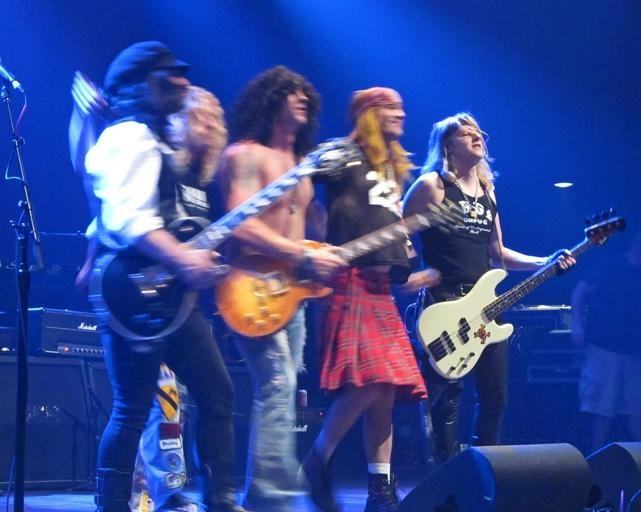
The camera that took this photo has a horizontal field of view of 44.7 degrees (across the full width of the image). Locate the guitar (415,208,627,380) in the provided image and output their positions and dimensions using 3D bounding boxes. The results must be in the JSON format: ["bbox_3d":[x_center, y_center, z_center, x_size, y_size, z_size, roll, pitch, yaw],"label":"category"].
[{"bbox_3d":[1.100,0.218,4.325,0.428,0.203,1.553,17,-50,-41],"label":"guitar"}]

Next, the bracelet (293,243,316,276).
[{"bbox_3d":[-0.078,0.019,3.910,0.091,0.153,0.036,14,8,-23],"label":"bracelet"}]

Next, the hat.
[{"bbox_3d":[-0.850,-0.918,3.844,0.353,0.152,0.239,-23,8,-3],"label":"hat"}]

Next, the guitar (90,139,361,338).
[{"bbox_3d":[-0.480,-0.082,3.775,1.012,0.370,0.136,-35,15,-19],"label":"guitar"}]
